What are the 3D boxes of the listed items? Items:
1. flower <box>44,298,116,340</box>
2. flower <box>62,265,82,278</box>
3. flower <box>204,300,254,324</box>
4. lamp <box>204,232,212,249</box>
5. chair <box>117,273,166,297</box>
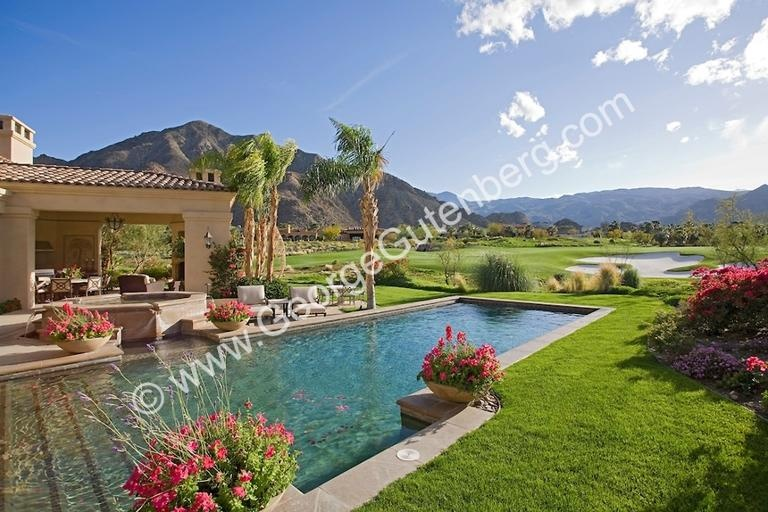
[{"bbox_3d":[-9.072,2.031,12.043,1.617,0.955,1.696,8,-2,-3],"label":"flower"},{"bbox_3d":[-16.274,0.755,20.372,0.607,0.430,0.615,4,-6,-19],"label":"flower"},{"bbox_3d":[-5.497,1.975,13.916,1.039,0.592,0.995,2,-2,-16],"label":"flower"},{"bbox_3d":[-8.157,-0.816,18.169,0.405,0.639,0.315,-6,-2,31],"label":"lamp"},{"bbox_3d":[-10.489,1.180,17.085,1.288,0.899,1.268,1,0,19],"label":"chair"}]
